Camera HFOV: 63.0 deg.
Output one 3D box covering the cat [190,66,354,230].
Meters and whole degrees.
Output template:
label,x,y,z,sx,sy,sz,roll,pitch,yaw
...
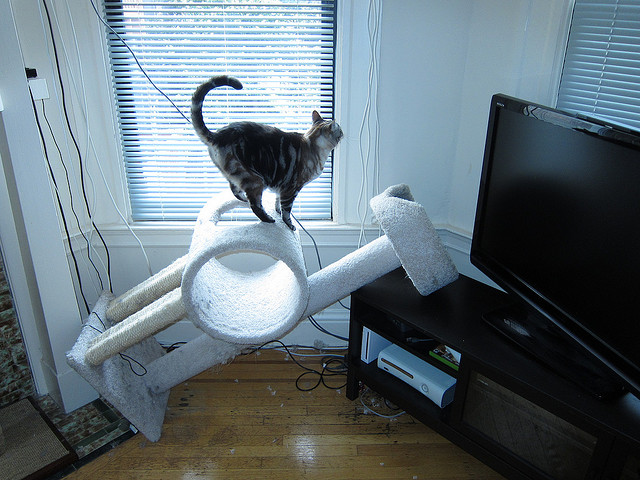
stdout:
label,x,y,z,sx,sy,sz,roll,pitch,yaw
cat,-0.186,-0.351,2.111,0.726,0.563,0.205,-6,23,-37
